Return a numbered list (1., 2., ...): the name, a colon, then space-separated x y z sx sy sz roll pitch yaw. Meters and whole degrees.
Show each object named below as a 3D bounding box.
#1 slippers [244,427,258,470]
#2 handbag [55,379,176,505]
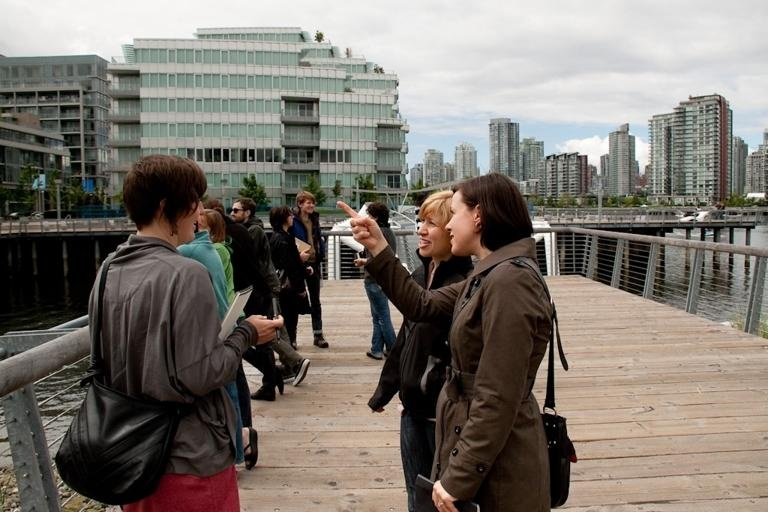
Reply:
1. slippers: -1.000 1.410 5.312 0.112 0.318 0.116 -7 7 -28
2. handbag: -1.289 0.891 3.495 0.510 0.546 0.240 2 11 14
